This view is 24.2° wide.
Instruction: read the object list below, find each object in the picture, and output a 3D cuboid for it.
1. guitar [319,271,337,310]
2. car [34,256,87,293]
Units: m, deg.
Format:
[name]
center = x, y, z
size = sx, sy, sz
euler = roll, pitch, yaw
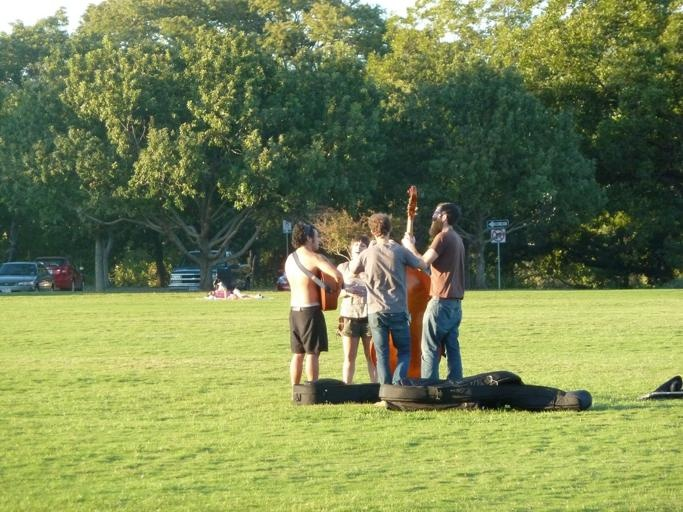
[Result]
[guitar]
center = -0.425, 0.947, 49.719
size = 0.518, 1.597, 1.101
euler = 0, -3, -9
[car]
center = -16.459, 0.863, 92.158
size = 2.572, 2.211, 6.254
euler = 0, 2, 4
